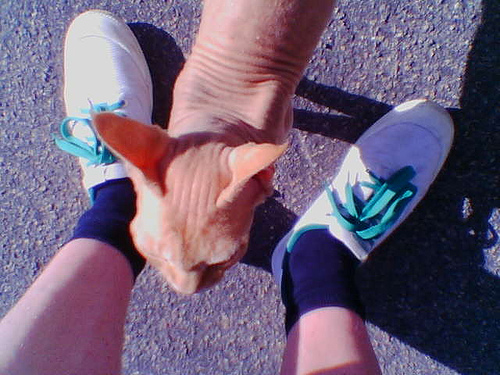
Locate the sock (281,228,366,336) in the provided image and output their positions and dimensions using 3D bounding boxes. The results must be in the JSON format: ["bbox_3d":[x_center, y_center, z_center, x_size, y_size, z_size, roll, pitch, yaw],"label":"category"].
[{"bbox_3d":[0.397,0.513,3.031,0.303,0.312,0.745,-3,50,12],"label":"sock"}]

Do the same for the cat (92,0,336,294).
[{"bbox_3d":[-0.155,-0.164,2.925,0.572,1.084,1.694,12,95,9],"label":"cat"}]
